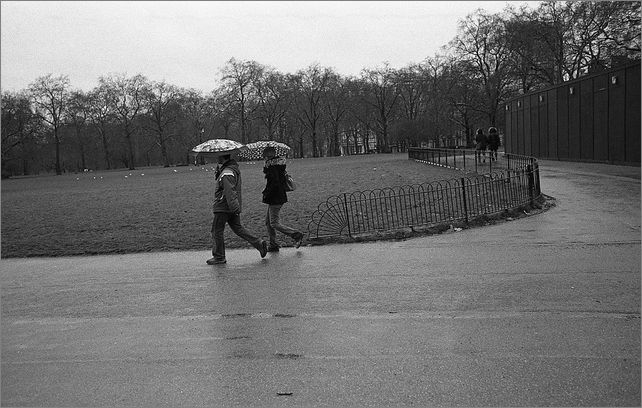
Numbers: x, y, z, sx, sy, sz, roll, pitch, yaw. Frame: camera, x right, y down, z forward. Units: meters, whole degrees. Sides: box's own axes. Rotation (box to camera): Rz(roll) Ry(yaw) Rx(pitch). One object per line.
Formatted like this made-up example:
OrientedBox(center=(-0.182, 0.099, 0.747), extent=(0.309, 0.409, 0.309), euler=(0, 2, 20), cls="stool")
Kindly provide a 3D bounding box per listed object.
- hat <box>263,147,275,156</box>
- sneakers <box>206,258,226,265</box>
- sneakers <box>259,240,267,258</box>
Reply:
OrientedBox(center=(-1.285, -1.266, 14.924), extent=(0.321, 0.235, 0.195), euler=(0, 6, 23), cls="hat")
OrientedBox(center=(-2.512, 1.391, 14.502), extent=(0.452, 0.229, 0.169), euler=(6, -3, -3), cls="sneakers")
OrientedBox(center=(-1.398, 1.110, 14.640), extent=(0.136, 0.384, 0.172), euler=(3, -7, 2), cls="sneakers")
